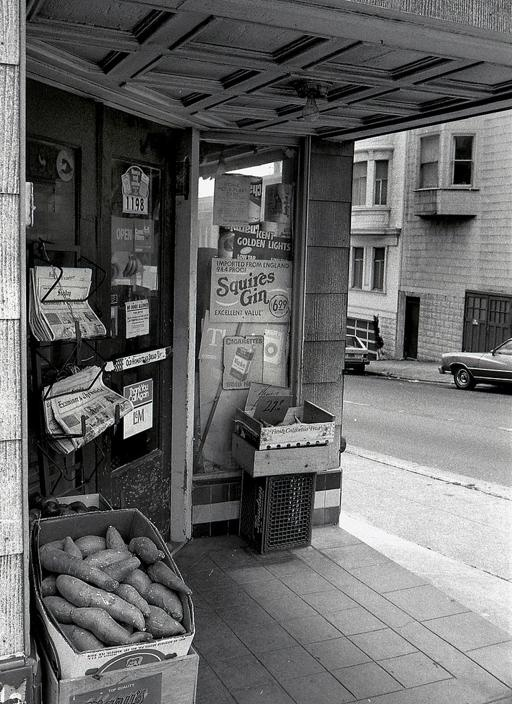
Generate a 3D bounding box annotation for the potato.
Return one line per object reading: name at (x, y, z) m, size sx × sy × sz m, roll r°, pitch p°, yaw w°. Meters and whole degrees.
potato at (-0.515, 0.839, 2.663) m, size 0.328 × 0.192 × 0.506 m, roll 9°, pitch 12°, yaw -24°
